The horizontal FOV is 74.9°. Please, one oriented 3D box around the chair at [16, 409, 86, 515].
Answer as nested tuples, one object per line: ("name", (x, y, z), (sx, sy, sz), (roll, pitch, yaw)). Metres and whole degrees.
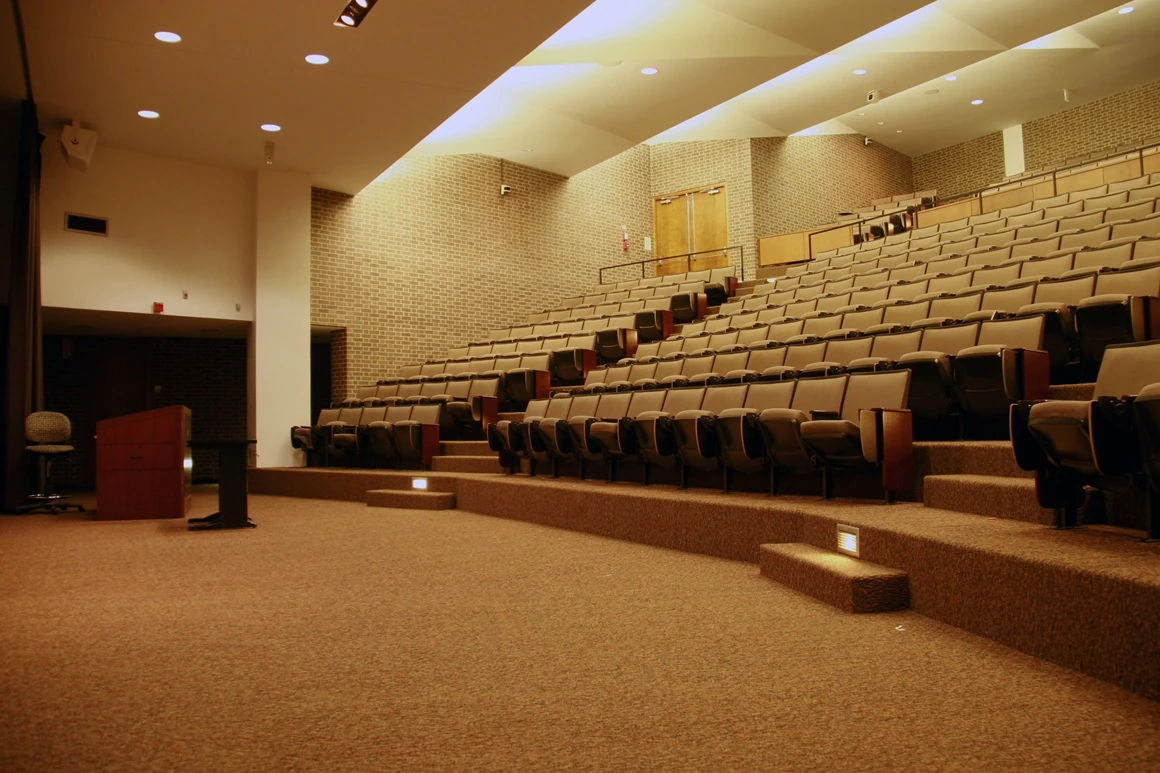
("chair", (-4.881, 0.687, 7.031), (0.597, 0.816, 0.539), (5, -2, -34))
